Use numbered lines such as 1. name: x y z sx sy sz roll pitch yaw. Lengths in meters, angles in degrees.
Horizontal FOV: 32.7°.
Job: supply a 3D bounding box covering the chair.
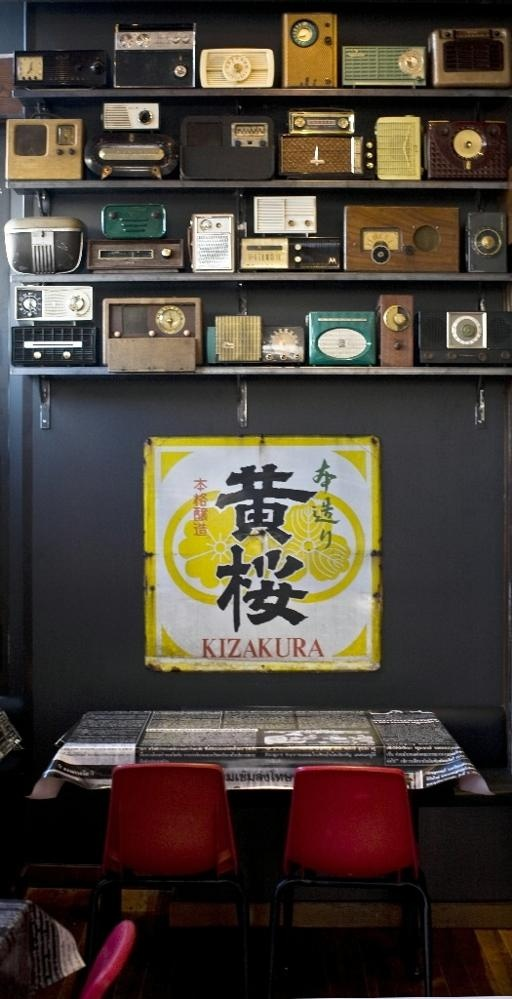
1. chair: 0.015 1.174 2.658 0.656 0.506 0.274 0 -5 2
